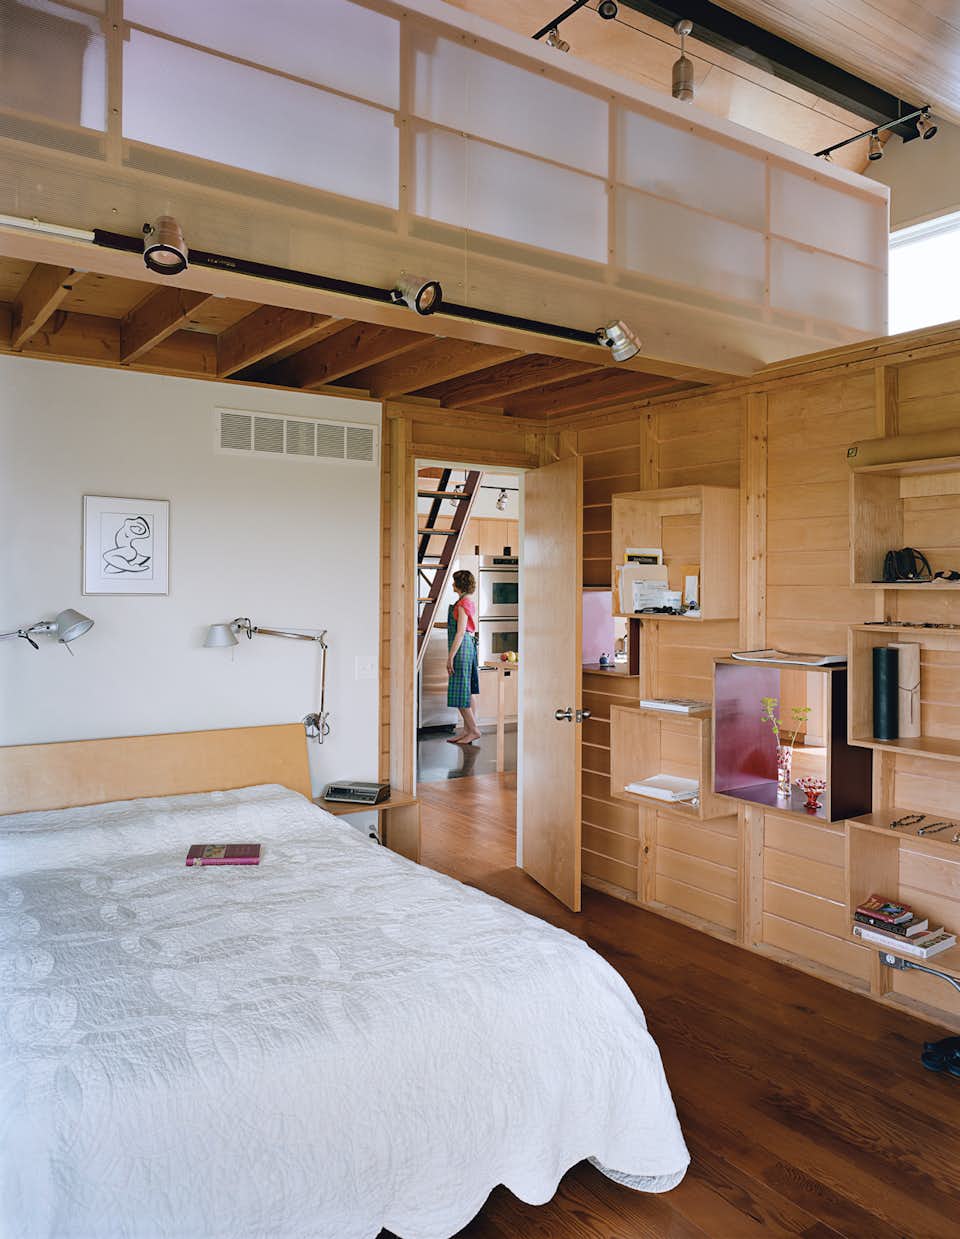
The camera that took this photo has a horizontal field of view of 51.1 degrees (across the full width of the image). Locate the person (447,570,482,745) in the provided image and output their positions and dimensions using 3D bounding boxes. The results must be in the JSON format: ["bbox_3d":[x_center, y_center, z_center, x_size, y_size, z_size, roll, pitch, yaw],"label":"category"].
[{"bbox_3d":[-0.118,0.345,8.119,0.273,1.485,0.680,4,5,0],"label":"person"}]

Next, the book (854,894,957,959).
[{"bbox_3d":[1.371,1.012,3.300,0.178,0.056,0.225,-4,10,-31],"label":"book"}]

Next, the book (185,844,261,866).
[{"bbox_3d":[-0.791,0.735,3.129,0.245,0.046,0.134,3,5,2],"label":"book"}]

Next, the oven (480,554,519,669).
[{"bbox_3d":[0.224,-0.106,8.993,0.312,0.947,0.481,9,7,41],"label":"oven"}]
